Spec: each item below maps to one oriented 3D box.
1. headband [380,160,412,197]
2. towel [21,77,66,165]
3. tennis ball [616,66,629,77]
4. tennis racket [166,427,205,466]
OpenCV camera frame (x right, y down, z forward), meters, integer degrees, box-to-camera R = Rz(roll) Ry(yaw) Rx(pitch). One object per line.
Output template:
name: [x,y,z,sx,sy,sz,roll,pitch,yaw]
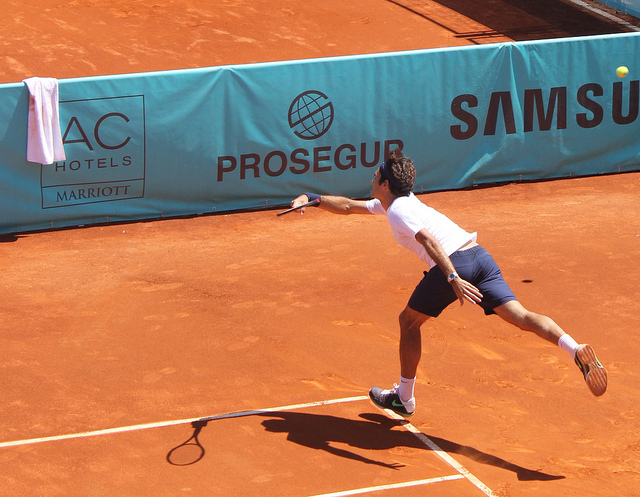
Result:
headband: [0.612,-0.618,5.922,0.291,0.070,0.299,34,1,-35]
towel: [-4.339,-1.992,10.479,0.567,1.333,0.309,-5,10,-20]
tennis ball: [5.679,-3.325,12.632,0.231,0.170,0.181,-6,16,-6]
tennis racket: [-1.144,1.784,5.950,0.300,0.140,0.451,4,10,35]
